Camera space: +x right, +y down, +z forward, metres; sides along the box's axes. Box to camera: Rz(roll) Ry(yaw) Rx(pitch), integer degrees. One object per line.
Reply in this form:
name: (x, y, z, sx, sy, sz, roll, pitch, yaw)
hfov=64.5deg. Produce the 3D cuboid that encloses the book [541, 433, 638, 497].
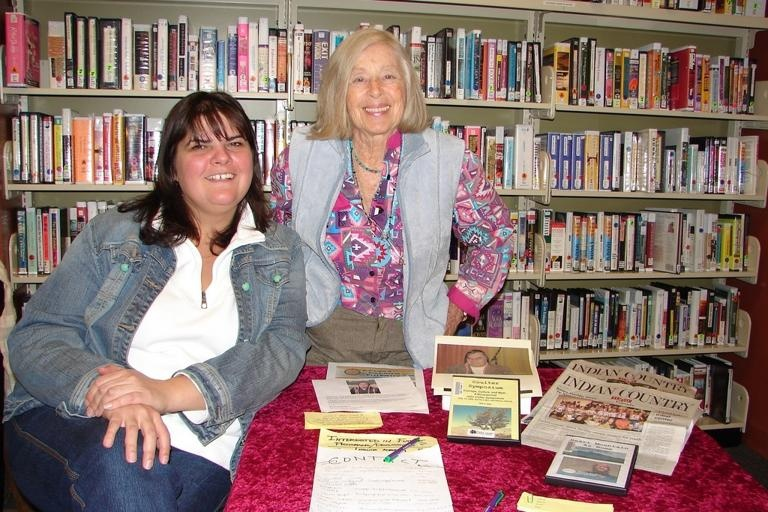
book: (0.534, 0.536, 1.566, 0.213, 0.073, 0.160, 6, 13, 19)
